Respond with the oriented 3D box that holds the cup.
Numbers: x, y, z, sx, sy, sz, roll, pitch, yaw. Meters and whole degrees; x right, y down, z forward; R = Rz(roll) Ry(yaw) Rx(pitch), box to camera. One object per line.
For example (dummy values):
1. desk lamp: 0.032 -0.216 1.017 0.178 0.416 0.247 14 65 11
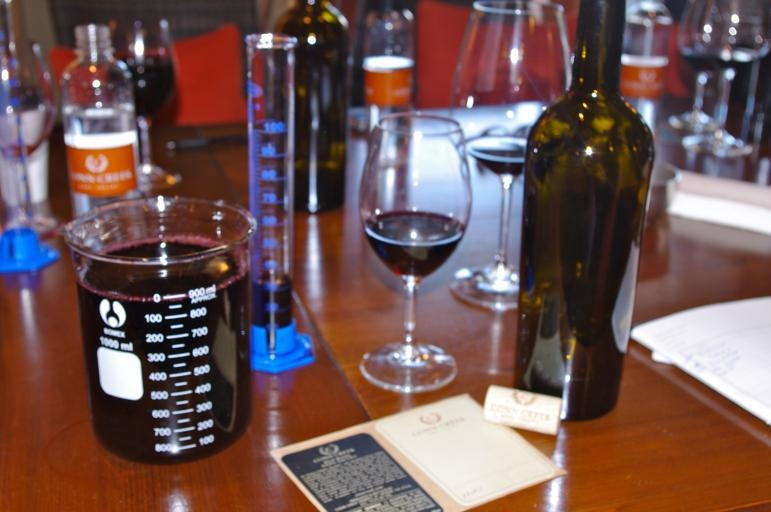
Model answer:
1. cup: -0.269 0.093 0.890 0.204 0.270 0.199 3 21 -1
